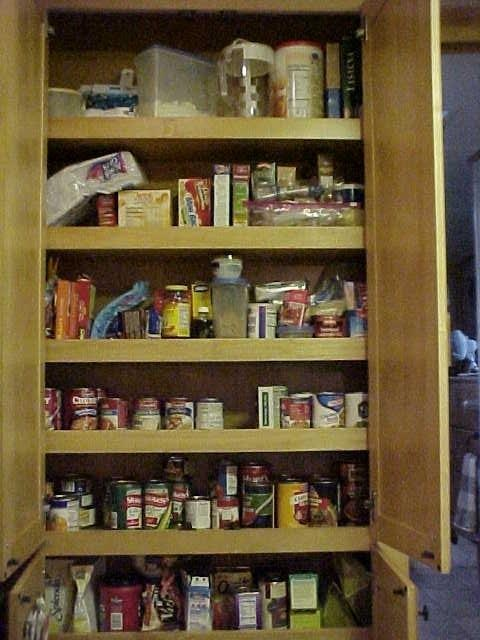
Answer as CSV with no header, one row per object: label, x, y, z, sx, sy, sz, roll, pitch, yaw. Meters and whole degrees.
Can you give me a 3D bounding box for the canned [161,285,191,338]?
canned,-0.160,-0.018,1.716,0.070,0.126,0.069,0,6,-8
